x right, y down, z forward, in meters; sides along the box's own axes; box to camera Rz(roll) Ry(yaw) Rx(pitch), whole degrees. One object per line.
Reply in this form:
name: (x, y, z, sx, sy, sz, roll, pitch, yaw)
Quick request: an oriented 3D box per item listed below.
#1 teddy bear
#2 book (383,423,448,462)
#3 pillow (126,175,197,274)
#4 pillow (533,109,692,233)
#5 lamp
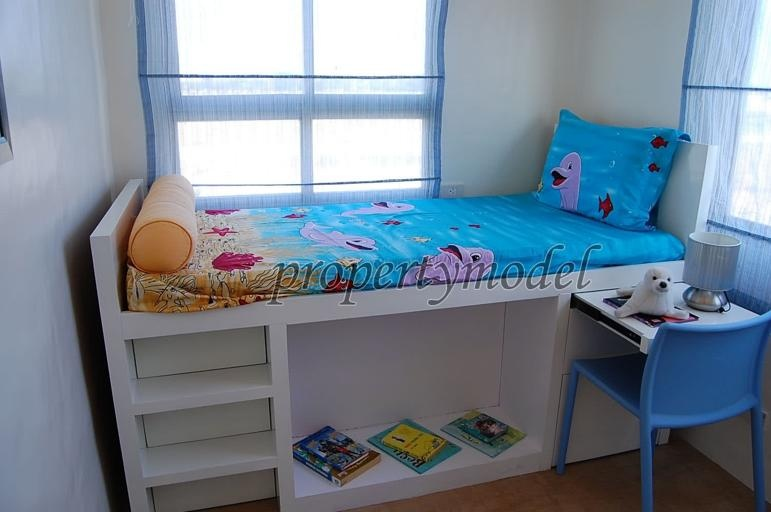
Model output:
teddy bear: (1.150, 0.129, 2.248, 0.243, 0.169, 0.256, 4, 8, 8)
book: (0.129, 0.944, 2.685, 0.157, 0.039, 0.159, 16, 24, 32)
pillow: (-0.976, -0.135, 2.296, 0.268, 0.249, 0.609, -8, 21, -18)
pillow: (1.222, -0.433, 2.789, 0.262, 0.448, 0.628, -10, 21, -31)
lamp: (1.439, 0.074, 2.345, 0.199, 0.315, 0.179, 11, 23, 32)
